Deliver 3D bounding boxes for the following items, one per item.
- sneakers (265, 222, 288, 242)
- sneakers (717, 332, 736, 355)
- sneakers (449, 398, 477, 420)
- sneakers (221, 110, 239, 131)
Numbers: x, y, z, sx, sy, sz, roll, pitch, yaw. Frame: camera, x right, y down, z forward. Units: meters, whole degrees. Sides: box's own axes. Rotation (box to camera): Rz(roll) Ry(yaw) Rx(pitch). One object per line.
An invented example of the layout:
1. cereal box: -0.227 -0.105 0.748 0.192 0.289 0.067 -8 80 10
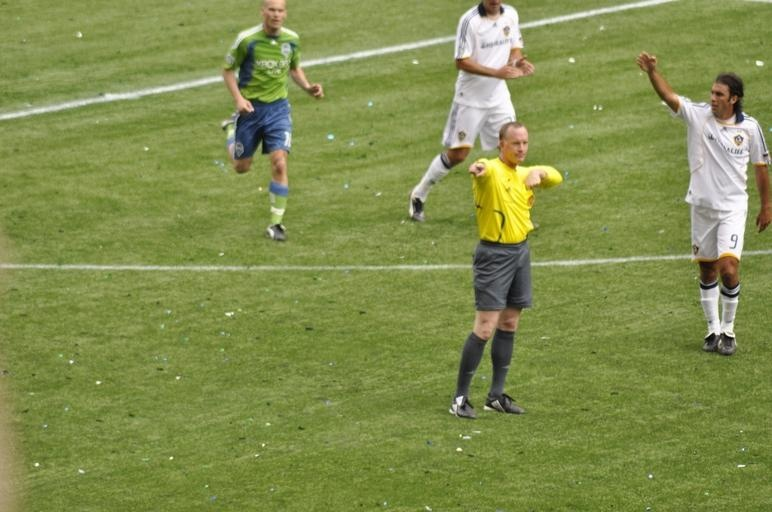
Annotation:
1. sneakers: -1.323 -0.305 20.511 0.208 0.099 0.236 2 39 -12
2. sneakers: 3.785 0.966 18.469 0.199 0.227 0.173 -5 20 11
3. sneakers: 0.845 1.613 17.782 0.160 0.141 0.352 -2 2 -34
4. sneakers: -1.937 -1.723 21.163 0.191 0.196 0.476 11 21 13
